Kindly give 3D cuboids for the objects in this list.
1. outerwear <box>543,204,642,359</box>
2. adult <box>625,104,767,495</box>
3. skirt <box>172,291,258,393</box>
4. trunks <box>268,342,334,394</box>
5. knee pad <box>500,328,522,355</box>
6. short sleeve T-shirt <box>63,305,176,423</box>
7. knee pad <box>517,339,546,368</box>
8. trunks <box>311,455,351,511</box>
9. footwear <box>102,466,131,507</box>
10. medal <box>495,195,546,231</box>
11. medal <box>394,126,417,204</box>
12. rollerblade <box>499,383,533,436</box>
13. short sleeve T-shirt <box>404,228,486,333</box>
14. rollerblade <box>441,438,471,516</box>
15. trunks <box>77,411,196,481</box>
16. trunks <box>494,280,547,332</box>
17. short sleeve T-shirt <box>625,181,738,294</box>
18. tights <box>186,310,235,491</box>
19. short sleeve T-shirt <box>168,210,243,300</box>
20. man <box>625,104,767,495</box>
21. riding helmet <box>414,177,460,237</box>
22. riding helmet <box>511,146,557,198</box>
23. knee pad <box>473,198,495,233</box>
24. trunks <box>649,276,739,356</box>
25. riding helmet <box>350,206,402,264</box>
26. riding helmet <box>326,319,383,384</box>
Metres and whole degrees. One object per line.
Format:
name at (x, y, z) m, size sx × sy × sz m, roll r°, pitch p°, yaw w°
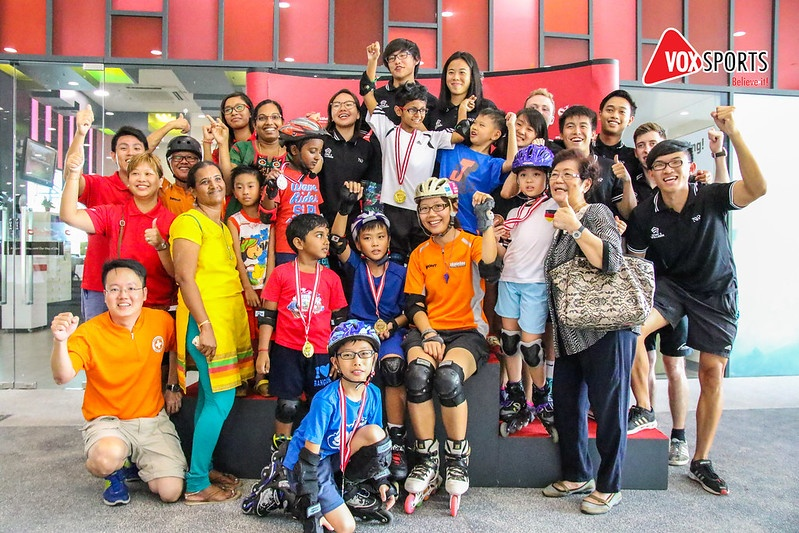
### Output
outerwear at (1.781, 0.003, 5.522) m, size 0.880 × 1.094 × 0.604 m, roll -8°, pitch 18°, yaw 26°
adult at (2.625, 0.263, 5.849) m, size 1.010 × 3.317 × 0.637 m, roll 6°, pitch 13°, yaw 28°
skirt at (-1.755, 0.580, 5.833) m, size 0.628 × 0.941 × 0.700 m, roll 9°, pitch -25°, yaw -39°
trunks at (-0.917, 0.925, 5.873) m, size 0.695 × 0.631 × 0.408 m, roll 4°, pitch -3°, yaw -16°
knee pad at (1.000, 0.698, 5.838) m, size 0.176 × 0.217 × 0.219 m, roll 0°, pitch 0°, yaw 8°
short sleeve T-shirt at (-2.461, 0.883, 5.710) m, size 0.498 × 0.929 × 1.146 m, roll 6°, pitch 6°, yaw 36°
knee pad at (1.199, 0.775, 5.852) m, size 0.193 × 0.216 × 0.243 m, roll -12°, pitch 10°, yaw 16°
trunks at (-0.559, 1.727, 5.137) m, size 0.281 × 0.360 × 0.131 m, roll 5°, pitch -22°, yaw -27°
footwear at (-2.396, 1.895, 5.461) m, size 0.148 × 0.164 × 0.367 m, roll 1°, pitch -4°, yaw -22°
medal at (1.169, -0.510, 5.980) m, size 0.592 × 0.190 × 0.104 m, roll -35°, pitch 43°, yaw -21°
medal at (0.062, -0.958, 6.342) m, size 0.209 × 0.685 × 0.188 m, roll 1°, pitch 11°, yaw 3°
rollerblade at (1.066, 1.285, 5.863) m, size 0.297 × 0.367 × 0.451 m, roll 2°, pitch 11°, yaw 11°
short sleeve T-shirt at (0.429, 0.160, 5.829) m, size 0.914 × 0.977 × 0.549 m, roll -1°, pitch -4°, yaw 12°
rollerblade at (0.480, 1.763, 5.420) m, size 0.187 × 0.570 × 0.285 m, roll 0°, pitch 11°, yaw 1°
trunks at (-2.258, 1.566, 5.538) m, size 0.803 × 0.549 × 0.321 m, roll -3°, pitch 12°, yaw -17°
trunks at (1.110, 0.355, 5.814) m, size 0.441 × 0.423 × 0.257 m, roll -1°, pitch -13°, yaw 38°
short sleeve T-shirt at (2.539, -0.232, 5.811) m, size 0.915 × 0.839 × 0.511 m, roll -3°, pitch 21°, yaw 33°
tights at (-1.646, 1.175, 5.594) m, size 0.446 × 1.463 × 0.422 m, roll -3°, pitch 11°, yaw -15°
short sleeve T-shirt at (-1.715, -0.079, 5.676) m, size 0.409 × 0.680 × 0.700 m, roll -7°, pitch -10°, yaw 6°
man at (2.622, 0.263, 5.850) m, size 1.016 × 3.317 × 0.638 m, roll 6°, pitch 13°, yaw 28°
riding helmet at (0.351, -0.558, 5.955) m, size 0.382 × 0.508 × 0.501 m, roll -4°, pitch -4°, yaw 22°
riding helmet at (1.239, -0.918, 5.974) m, size 0.366 × 0.416 × 0.482 m, roll 2°, pitch 11°, yaw 22°
knee pad at (0.742, -0.441, 5.631) m, size 0.197 × 0.262 × 0.115 m, roll -7°, pitch 17°, yaw 16°
trunks at (2.694, 0.432, 5.900) m, size 0.678 × 0.644 × 0.349 m, roll 7°, pitch 16°, yaw 26°
riding helmet at (-0.226, -0.261, 6.122) m, size 0.325 × 0.512 × 0.518 m, roll 3°, pitch 12°, yaw 15°
riding helmet at (-0.395, 0.740, 5.345) m, size 0.399 × 0.468 × 0.484 m, roll 3°, pitch -33°, yaw -7°
